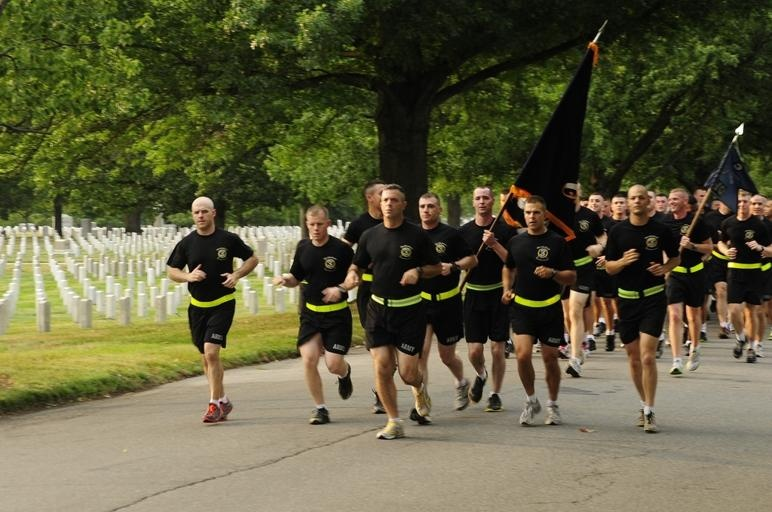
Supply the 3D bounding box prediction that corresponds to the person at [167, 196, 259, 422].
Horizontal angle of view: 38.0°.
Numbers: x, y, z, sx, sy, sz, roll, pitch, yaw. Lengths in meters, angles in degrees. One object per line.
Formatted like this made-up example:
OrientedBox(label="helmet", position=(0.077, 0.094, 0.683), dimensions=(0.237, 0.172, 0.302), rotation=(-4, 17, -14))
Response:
OrientedBox(label="person", position=(-2.622, 0.770, 16.767), dimensions=(1.251, 3.328, 0.785), rotation=(0, -2, -8))
